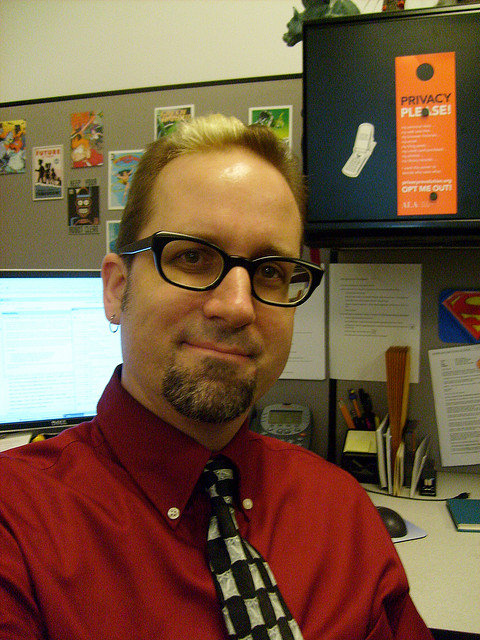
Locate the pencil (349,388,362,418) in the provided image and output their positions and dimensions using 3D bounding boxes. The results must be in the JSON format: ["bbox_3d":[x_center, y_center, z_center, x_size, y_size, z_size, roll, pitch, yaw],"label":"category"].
[{"bbox_3d":[0.241,0.175,1.128,0.016,0.059,0.016,-25,-18,33],"label":"pencil"}]

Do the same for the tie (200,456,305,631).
[{"bbox_3d":[0.009,0.235,0.536,0.060,0.013,0.238,4,31,-19],"label":"tie"}]

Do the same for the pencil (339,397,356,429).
[{"bbox_3d":[0.225,0.196,1.119,0.011,0.076,0.016,-24,-10,-10],"label":"pencil"}]

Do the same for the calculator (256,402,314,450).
[{"bbox_3d":[0.092,0.228,1.140,0.116,0.157,0.040,-5,29,2],"label":"calculator"}]
